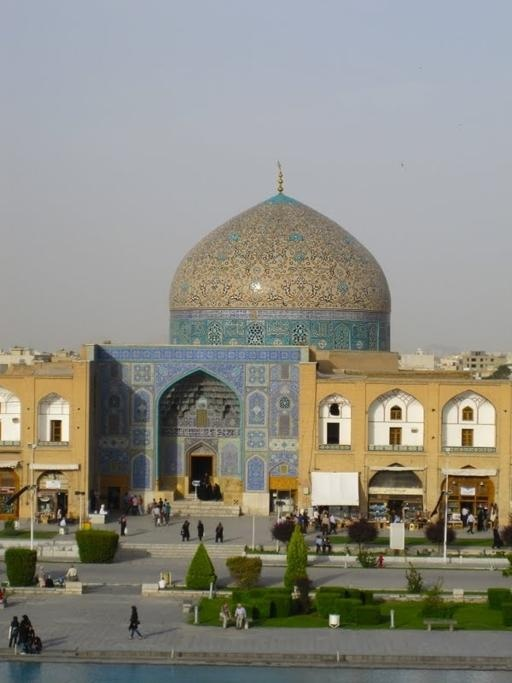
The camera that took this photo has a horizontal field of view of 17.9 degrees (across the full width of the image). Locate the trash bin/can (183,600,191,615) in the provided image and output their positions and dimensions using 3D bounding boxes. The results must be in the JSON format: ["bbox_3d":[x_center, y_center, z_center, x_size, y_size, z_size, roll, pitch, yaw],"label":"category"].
[{"bbox_3d":[-1.306,5.109,31.189,0.235,0.240,0.132,-1,-10,3],"label":"trash bin/can"}]

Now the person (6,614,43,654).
[{"bbox_3d":[-4.039,5.154,28.516,0.768,0.634,0.451,-5,-7,35],"label":"person"}]

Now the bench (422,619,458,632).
[{"bbox_3d":[3.394,5.241,29.960,0.589,0.208,0.401,-1,-6,5],"label":"bench"}]
